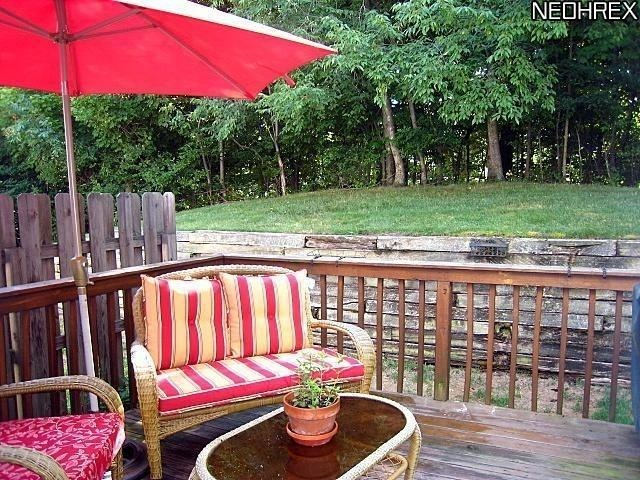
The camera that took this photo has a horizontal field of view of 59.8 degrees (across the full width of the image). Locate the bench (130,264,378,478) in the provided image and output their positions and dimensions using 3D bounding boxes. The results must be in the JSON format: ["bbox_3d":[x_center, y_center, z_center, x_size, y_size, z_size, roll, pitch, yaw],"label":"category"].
[{"bbox_3d":[-0.775,0.812,4.351,1.983,1.433,1.239,-3,1,-31],"label":"bench"}]

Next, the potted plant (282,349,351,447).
[{"bbox_3d":[-0.043,0.940,3.433,0.441,0.719,0.466,0,-2,0],"label":"potted plant"}]
